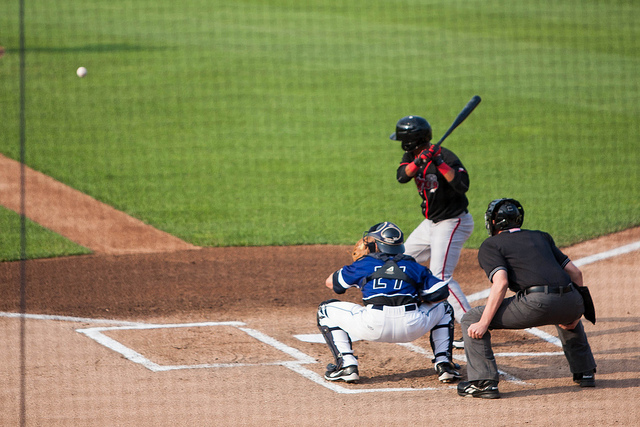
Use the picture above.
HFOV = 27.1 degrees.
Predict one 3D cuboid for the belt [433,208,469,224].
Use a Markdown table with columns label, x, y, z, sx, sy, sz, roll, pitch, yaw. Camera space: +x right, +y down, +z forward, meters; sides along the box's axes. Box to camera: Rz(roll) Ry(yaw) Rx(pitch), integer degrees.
| label | x | y | z | sx | sy | sz | roll | pitch | yaw |
| --- | --- | --- | --- | --- | --- | --- | --- | --- | --- |
| belt | 2.195 | 0.052 | 21.618 | 0.666 | 0.237 | 0.238 | 0 | -18 | -20 |

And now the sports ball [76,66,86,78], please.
| label | x | y | z | sx | sy | sz | roll | pitch | yaw |
| --- | --- | --- | --- | --- | --- | --- | --- | --- | --- |
| sports ball | -5.183 | -3.068 | 29.024 | 0.232 | 0.228 | 0.213 | -19 | 5 | 2 |

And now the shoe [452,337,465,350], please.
| label | x | y | z | sx | sy | sz | roll | pitch | yaw |
| --- | --- | --- | --- | --- | --- | --- | --- | --- | --- |
| shoe | 2.266 | 2.131 | 21.598 | 0.175 | 0.190 | 0.204 | -7 | -17 | -1 |

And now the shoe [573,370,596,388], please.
| label | x | y | z | sx | sy | sz | roll | pitch | yaw |
| --- | --- | --- | --- | --- | --- | --- | --- | --- | --- |
| shoe | 4.185 | 2.625 | 20.921 | 0.190 | 0.170 | 0.419 | -1 | 11 | -8 |

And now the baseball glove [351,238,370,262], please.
| label | x | y | z | sx | sy | sz | roll | pitch | yaw |
| --- | --- | --- | --- | --- | --- | --- | --- | --- | --- |
| baseball glove | 0.663 | 0.619 | 21.024 | 0.266 | 0.391 | 0.247 | -8 | -18 | -1 |

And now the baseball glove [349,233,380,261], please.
| label | x | y | z | sx | sy | sz | roll | pitch | yaw |
| --- | --- | --- | --- | --- | --- | --- | --- | --- | --- |
| baseball glove | 0.743 | 0.591 | 20.973 | 0.287 | 0.423 | 0.365 | 27 | -4 | -32 |

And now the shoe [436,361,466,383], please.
| label | x | y | z | sx | sy | sz | roll | pitch | yaw |
| --- | --- | --- | --- | --- | --- | --- | --- | --- | --- |
| shoe | 2.089 | 2.517 | 20.972 | 0.444 | 0.317 | 0.240 | -7 | -18 | -1 |

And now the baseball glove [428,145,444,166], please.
| label | x | y | z | sx | sy | sz | roll | pitch | yaw |
| --- | --- | --- | --- | --- | --- | --- | --- | --- | --- |
| baseball glove | 1.896 | -0.919 | 21.352 | 0.146 | 0.290 | 0.223 | -35 | 5 | 10 |

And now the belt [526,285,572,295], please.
| label | x | y | z | sx | sy | sz | roll | pitch | yaw |
| --- | --- | --- | --- | --- | --- | --- | --- | --- | --- |
| belt | 3.572 | 1.209 | 20.595 | 0.703 | 0.149 | 0.090 | -6 | -18 | 0 |
